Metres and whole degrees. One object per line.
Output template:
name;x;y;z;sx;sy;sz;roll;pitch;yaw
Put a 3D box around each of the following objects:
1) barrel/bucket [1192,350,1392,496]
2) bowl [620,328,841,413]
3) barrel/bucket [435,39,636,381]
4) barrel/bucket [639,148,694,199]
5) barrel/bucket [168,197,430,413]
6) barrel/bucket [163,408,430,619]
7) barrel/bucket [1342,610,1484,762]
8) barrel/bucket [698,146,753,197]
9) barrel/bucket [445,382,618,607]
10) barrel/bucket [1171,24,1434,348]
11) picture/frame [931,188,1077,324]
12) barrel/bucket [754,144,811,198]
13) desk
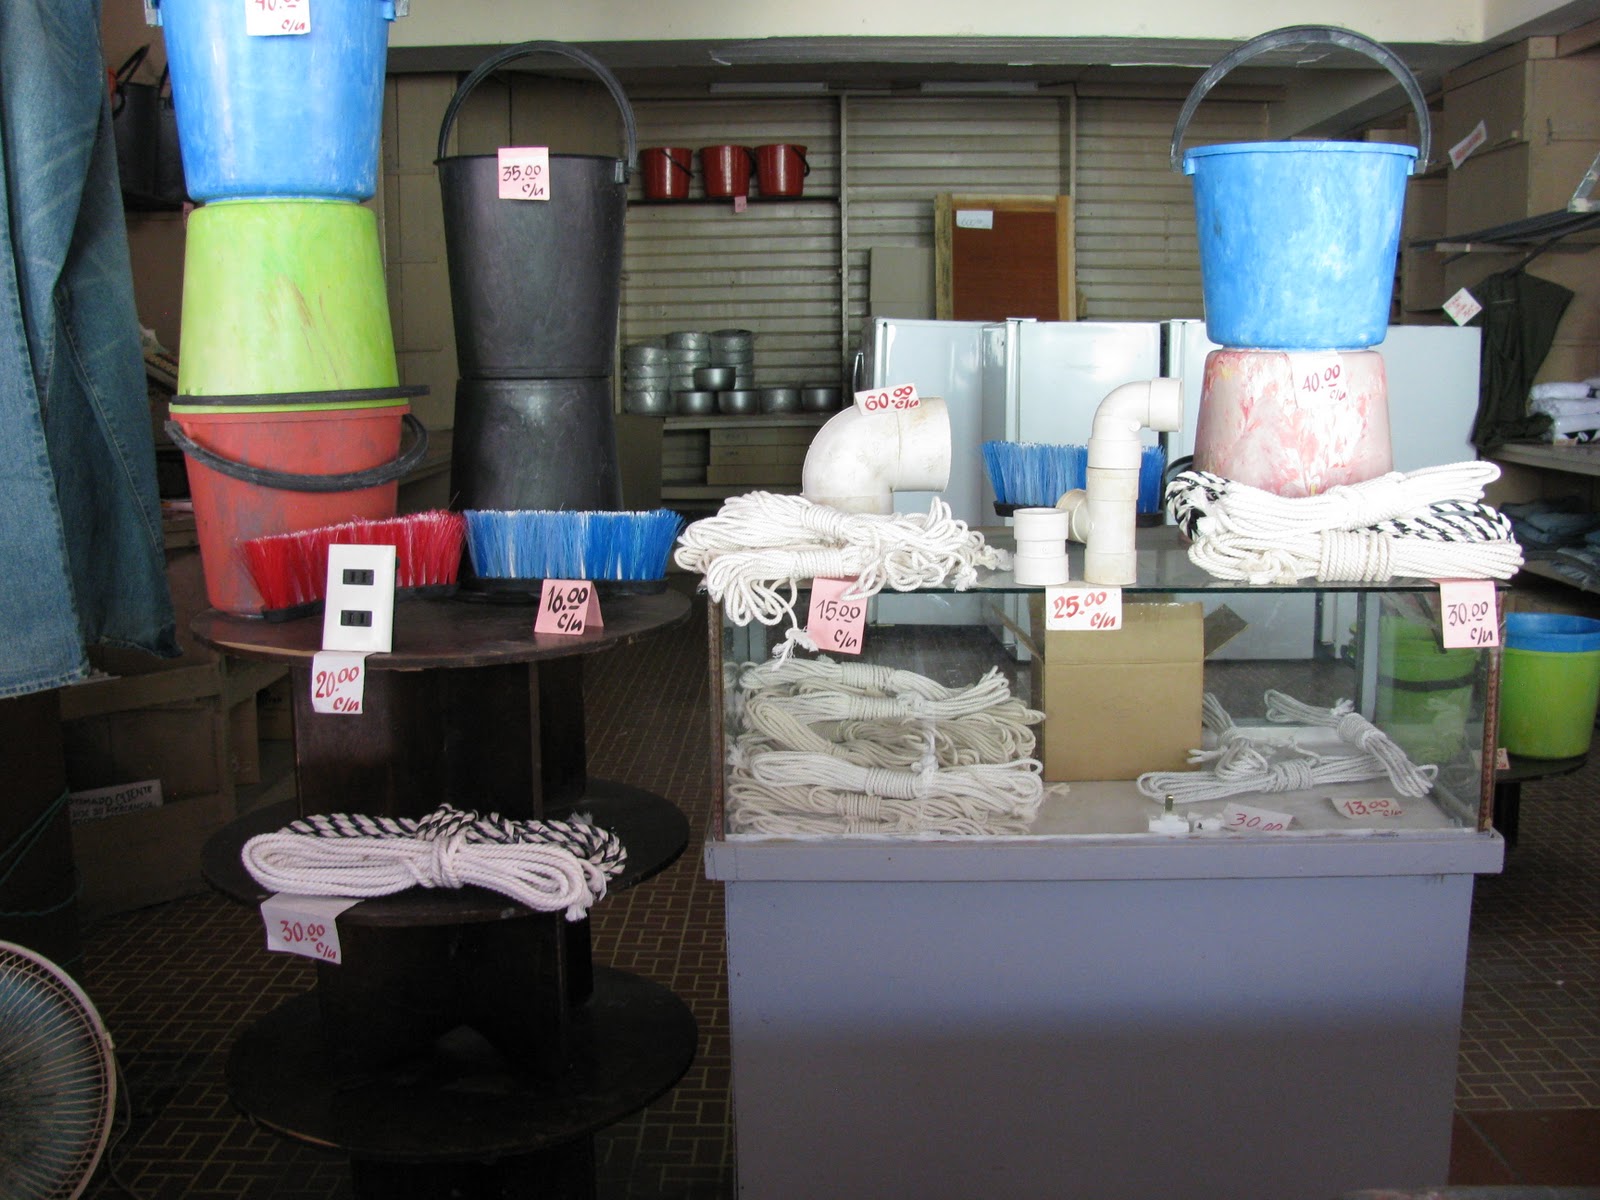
barrel/bucket;0.845;-0.339;2.296;0.329;0.283;0.315;-9;30;5
bowl;-0.457;-1.374;8.105;1.209;0.504;0.529;-2;9;-6
barrel/bucket;-0.475;-0.721;2.456;0.358;0.636;0.291;-3;10;-13
barrel/bucket;-0.792;-2.550;8.030;0.311;0.280;0.279;-2;9;-7
barrel/bucket;-0.901;-0.528;2.368;0.369;0.322;0.372;3;12;-1
barrel/bucket;-0.901;-0.178;2.405;0.435;0.340;0.429;-1;6;0
barrel/bucket;0.975;0.130;2.119;0.181;0.273;0.215;-13;13;-41
barrel/bucket;-0.452;-2.554;8.009;0.237;0.297;0.210;8;13;42
barrel/bucket;-0.508;-0.287;2.569;0.285;0.290;0.271;-2;-2;0
barrel/bucket;0.848;-0.710;2.278;0.417;0.574;0.353;2;10;15
picture/frame;1.242;-2.066;8.045;0.846;0.724;0.289;0;10;4
barrel/bucket;-0.105;-2.553;8.076;0.333;0.228;0.318;-1;-2;0
desk;-0.463;0.408;2.525;1.022;0.882;0.983;0;8;-6
